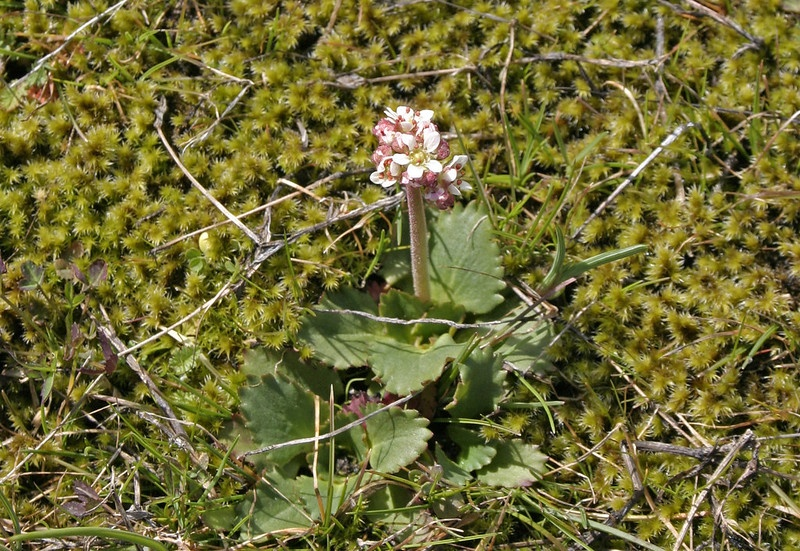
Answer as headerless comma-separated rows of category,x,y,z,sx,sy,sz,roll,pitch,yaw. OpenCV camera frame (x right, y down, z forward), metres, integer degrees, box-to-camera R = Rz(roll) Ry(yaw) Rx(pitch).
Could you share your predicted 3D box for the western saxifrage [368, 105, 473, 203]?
western saxifrage,0.135,-0.730,4.791,0.598,0.451,0.490,4,56,-1
